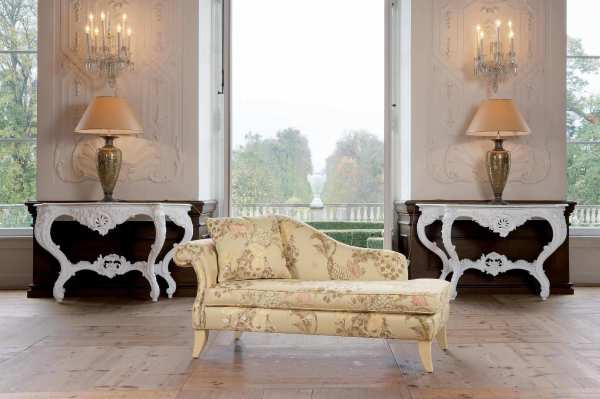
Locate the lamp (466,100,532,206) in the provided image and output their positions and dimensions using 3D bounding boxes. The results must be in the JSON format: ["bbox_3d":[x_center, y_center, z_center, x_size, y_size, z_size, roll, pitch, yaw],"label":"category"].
[{"bbox_3d":[2.134,-0.537,5.790,0.656,1.100,0.521,2,10,11],"label":"lamp"}]

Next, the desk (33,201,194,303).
[{"bbox_3d":[-2.065,0.573,5.815,1.630,1.051,0.847,-1,-7,-7],"label":"desk"}]

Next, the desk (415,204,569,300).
[{"bbox_3d":[2.125,0.560,5.841,1.472,0.967,0.847,1,-5,12],"label":"desk"}]

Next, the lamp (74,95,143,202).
[{"bbox_3d":[-2.081,-0.522,5.800,0.711,1.106,0.699,1,-2,-30],"label":"lamp"}]

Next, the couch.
[{"bbox_3d":[0.110,0.673,4.412,2.134,1.026,1.006,-2,-1,19],"label":"couch"}]

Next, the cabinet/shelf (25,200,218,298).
[{"bbox_3d":[-2.041,0.573,5.683,1.848,1.076,0.577,1,3,-4],"label":"cabinet/shelf"}]

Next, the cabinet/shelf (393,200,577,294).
[{"bbox_3d":[2.075,0.568,5.802,1.637,0.953,0.549,0,1,15],"label":"cabinet/shelf"}]
